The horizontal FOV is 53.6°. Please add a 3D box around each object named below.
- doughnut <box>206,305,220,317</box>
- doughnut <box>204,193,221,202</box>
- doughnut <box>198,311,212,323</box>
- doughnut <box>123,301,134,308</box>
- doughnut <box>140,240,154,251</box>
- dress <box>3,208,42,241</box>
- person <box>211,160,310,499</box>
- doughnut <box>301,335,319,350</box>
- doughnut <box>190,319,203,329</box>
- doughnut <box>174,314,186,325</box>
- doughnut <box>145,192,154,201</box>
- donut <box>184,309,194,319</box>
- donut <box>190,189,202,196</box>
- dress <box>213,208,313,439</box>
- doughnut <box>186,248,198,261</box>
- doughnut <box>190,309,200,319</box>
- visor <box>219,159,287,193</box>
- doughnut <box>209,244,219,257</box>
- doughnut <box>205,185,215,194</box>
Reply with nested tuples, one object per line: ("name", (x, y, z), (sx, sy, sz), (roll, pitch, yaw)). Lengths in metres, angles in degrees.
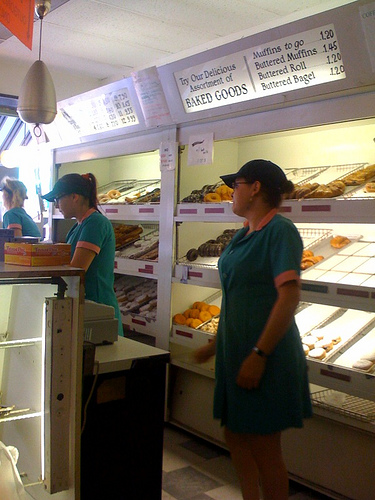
("doughnut", (0.199, 0.477, 2.846), (0.070, 0.066, 0.072), (5, 12, 35))
("doughnut", (0.167, -0.352, 2.529), (0.073, 0.072, 0.026), (-6, -29, -4))
("doughnut", (0.121, 0.491, 2.720), (0.069, 0.071, 0.072), (5, 11, 3))
("doughnut", (-0.515, 0.482, 3.246), (0.081, 0.040, 0.108), (-3, -1, -28))
("doughnut", (-0.394, -0.041, 3.401), (0.103, 0.070, 0.269), (-4, -1, 10))
("dress", (-1.871, -0.183, 4.170), (0.284, 0.401, 0.483), (-3, -7, 17))
("person", (0.255, 0.290, 1.363), (0.361, 1.105, 0.326), (-4, -1, 28))
("doughnut", (0.678, 0.512, 2.070), (0.082, 0.055, 0.081), (-3, 3, -10))
("doughnut", (0.065, 0.527, 2.635), (0.098, 0.051, 0.055), (-3, -1, -23))
("doughnut", (-0.058, 0.517, 2.736), (0.085, 0.060, 0.060), (-3, -1, -6))
("doughnut", (-0.337, -0.465, 3.275), (0.063, 0.034, 0.094), (-10, 13, -6))
("donut", (0.001, 0.483, 2.786), (0.047, 0.049, 0.058), (-7, 32, 5))
("donut", (0.070, -0.429, 2.768), (0.055, 0.021, 0.071), (-2, 18, 15))
("dress", (0.248, 0.259, 1.358), (0.360, 0.742, 0.292), (-4, -1, 21))
("doughnut", (0.034, 0.044, 2.725), (0.083, 0.076, 0.052), (-3, -1, -17))
("doughnut", (0.048, 0.479, 2.748), (0.054, 0.051, 0.075), (-27, -16, 14))
("visor", (0.245, -0.281, 1.396), (0.218, 0.118, 0.138), (7, 4, 9))
("doughnut", (0.189, 0.009, 2.732), (0.075, 0.076, 0.069), (1, -7, 0))
("doughnut", (0.165, -0.452, 2.787), (0.055, 0.064, 0.165), (-4, -1, 16))
